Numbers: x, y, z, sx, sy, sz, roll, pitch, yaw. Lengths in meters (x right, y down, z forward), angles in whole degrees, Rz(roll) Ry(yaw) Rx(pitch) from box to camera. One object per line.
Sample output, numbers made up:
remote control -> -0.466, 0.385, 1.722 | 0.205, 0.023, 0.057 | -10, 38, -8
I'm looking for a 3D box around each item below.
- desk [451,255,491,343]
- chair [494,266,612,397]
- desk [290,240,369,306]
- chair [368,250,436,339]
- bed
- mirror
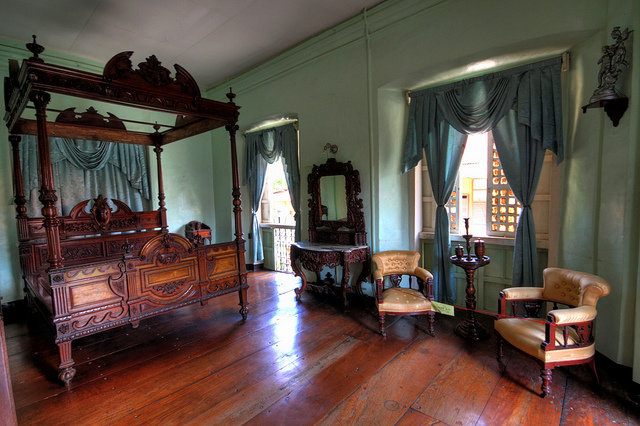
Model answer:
desk -> 1.985, 1.095, 5.627 | 0.522, 0.956, 0.524 | -3, 1, 5
chair -> 2.677, 1.306, 4.971 | 1.008, 1.218, 1.131 | -3, 6, -22
desk -> 0.131, 0.930, 6.757 | 1.247, 0.912, 0.771 | 4, 12, 34
chair -> 1.143, 1.055, 5.924 | 0.778, 1.051, 0.867 | -3, 1, 4
bed -> -2.874, 1.076, 6.216 | 2.547, 2.094, 2.572 | -2, 1, 41
mirror -> 0.296, -0.281, 6.685 | 1.203, 1.365, 0.105 | -2, -1, 40
